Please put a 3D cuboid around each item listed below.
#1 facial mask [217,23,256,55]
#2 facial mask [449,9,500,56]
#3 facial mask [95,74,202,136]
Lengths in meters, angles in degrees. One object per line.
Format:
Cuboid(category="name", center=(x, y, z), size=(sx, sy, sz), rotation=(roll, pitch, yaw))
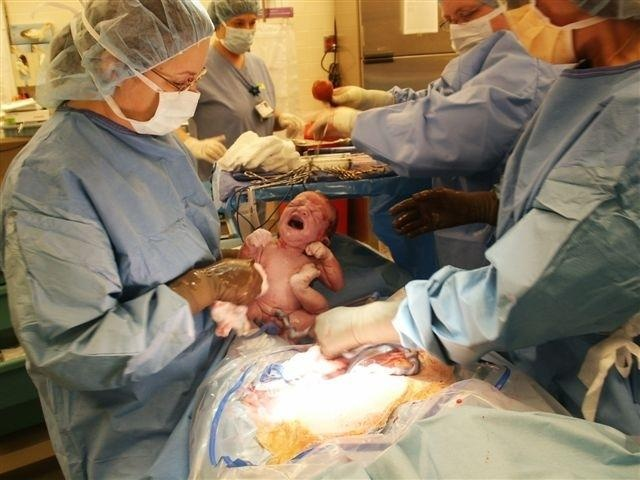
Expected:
Cuboid(category="facial mask", center=(-0.497, -1.193, 3.561), size=(0.137, 0.107, 0.150), rotation=(-16, 53, -34))
Cuboid(category="facial mask", center=(0.584, -0.790, 2.258), size=(0.127, 0.064, 0.115), rotation=(-35, 28, 10))
Cuboid(category="facial mask", center=(-0.560, -0.451, 2.013), size=(0.211, 0.153, 0.185), rotation=(15, 23, -13))
